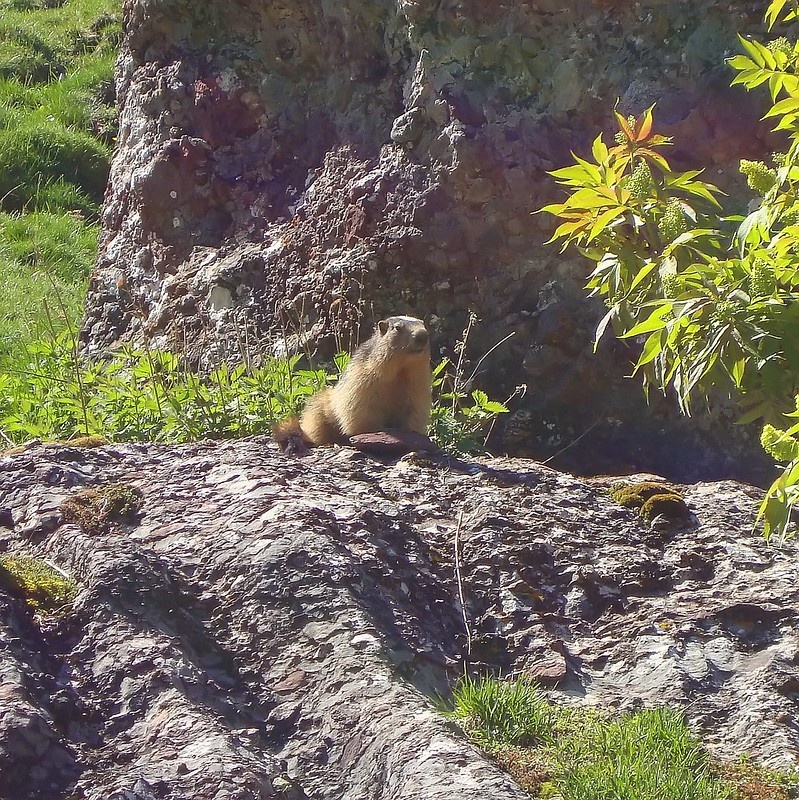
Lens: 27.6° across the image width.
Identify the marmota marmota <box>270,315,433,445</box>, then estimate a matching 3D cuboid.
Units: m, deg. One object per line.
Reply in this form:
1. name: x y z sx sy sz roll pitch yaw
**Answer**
1. marmota marmota: -0.174 -0.112 10.226 0.796 0.752 0.671 1 17 -13
